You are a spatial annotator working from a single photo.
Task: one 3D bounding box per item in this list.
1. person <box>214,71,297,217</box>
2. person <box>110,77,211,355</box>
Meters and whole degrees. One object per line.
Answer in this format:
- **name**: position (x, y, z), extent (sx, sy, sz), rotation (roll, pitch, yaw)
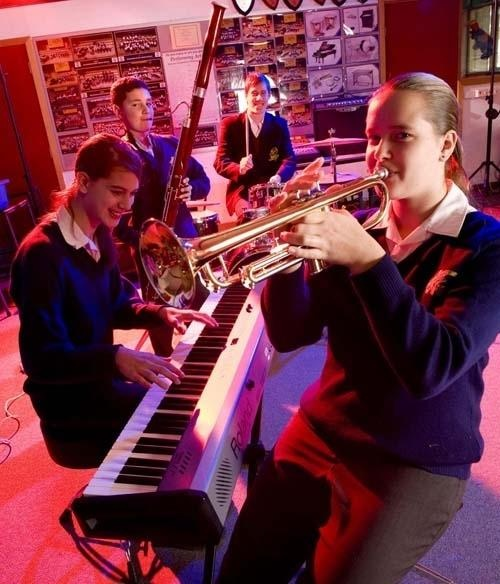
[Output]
- **person**: position (0.103, -1.292, 4.364), extent (0.859, 1.575, 0.857), rotation (-2, 24, -7)
- **person**: position (-0.866, -0.548, 3.719), extent (0.612, 2.471, 0.619), rotation (6, 48, -14)
